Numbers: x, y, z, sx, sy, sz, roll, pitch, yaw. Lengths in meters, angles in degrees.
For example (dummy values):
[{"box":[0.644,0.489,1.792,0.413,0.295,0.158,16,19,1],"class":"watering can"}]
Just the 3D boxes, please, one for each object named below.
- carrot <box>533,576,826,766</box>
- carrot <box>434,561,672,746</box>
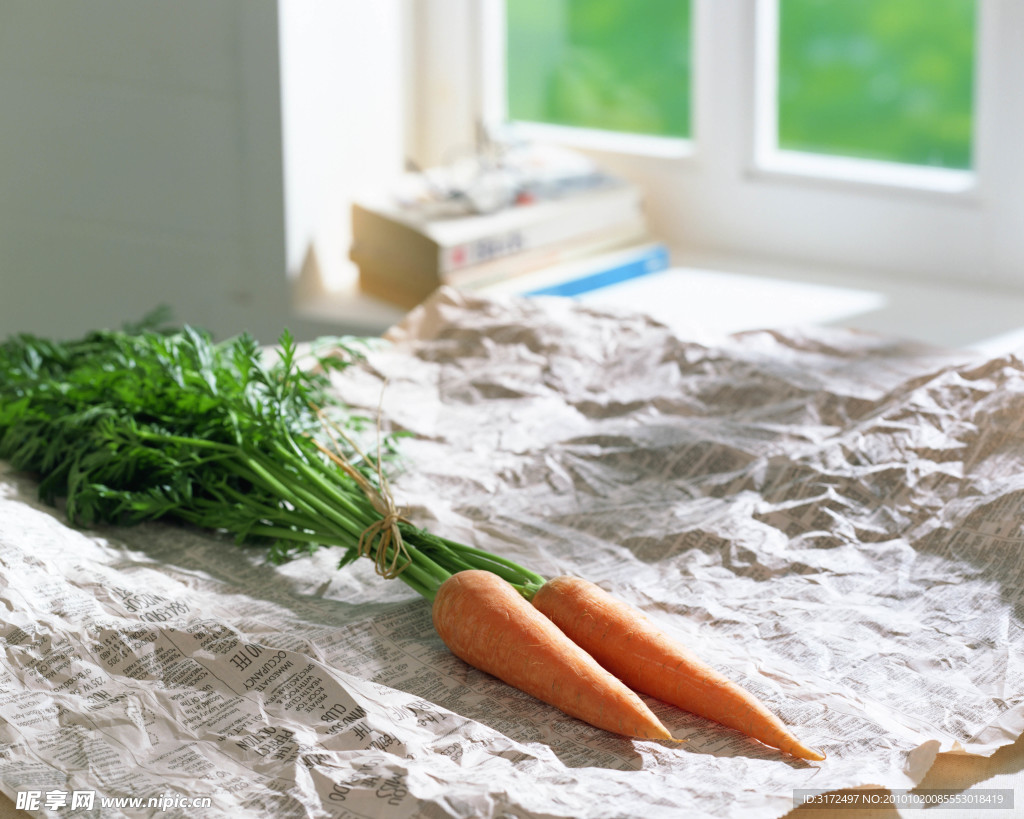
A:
[{"box":[0.092,0.168,0.735,0.293,0.057,0.050,20,-21,30],"class":"carrot"},{"box":[-0.016,0.170,0.748,0.232,0.048,0.063,24,19,25],"class":"carrot"}]
